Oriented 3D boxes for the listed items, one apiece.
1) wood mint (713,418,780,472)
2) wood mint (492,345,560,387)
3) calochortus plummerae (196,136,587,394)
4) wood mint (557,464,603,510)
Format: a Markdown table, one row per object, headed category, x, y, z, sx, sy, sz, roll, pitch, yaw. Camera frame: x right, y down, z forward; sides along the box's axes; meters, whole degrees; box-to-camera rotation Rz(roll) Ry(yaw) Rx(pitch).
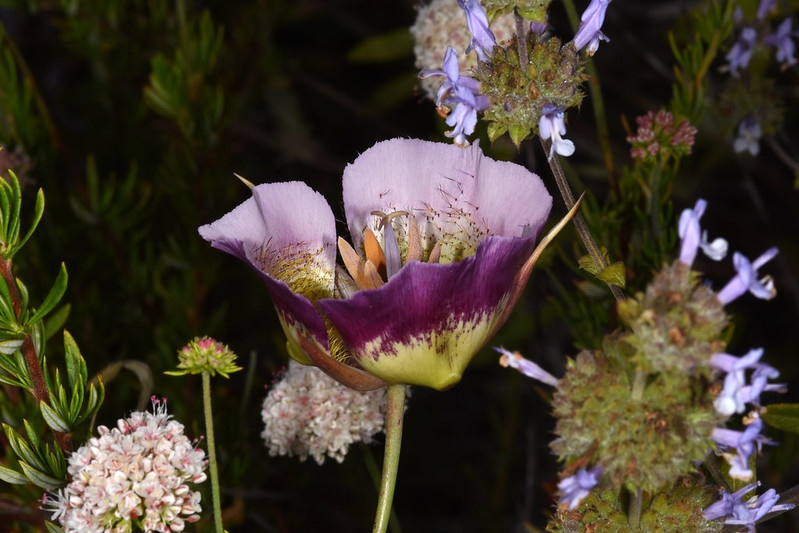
| category | x | y | z | sx | sy | sz | roll | pitch | yaw |
| --- | --- | --- | --- | --- | --- | --- | --- | --- | --- |
| wood mint | 0.450 | 0.236 | 1.163 | 0.077 | 0.058 | 0.060 | 11 | 62 | 5 |
| wood mint | 0.191 | 0.147 | 1.261 | 0.122 | 0.032 | 0.041 | 24 | 48 | -22 |
| calochortus plummerae | -0.027 | -0.024 | 1.380 | 0.550 | 0.313 | 0.299 | 8 | 35 | 2 |
| wood mint | 0.249 | 0.293 | 1.162 | 0.023 | 0.061 | 0.057 | 25 | 76 | 32 |
